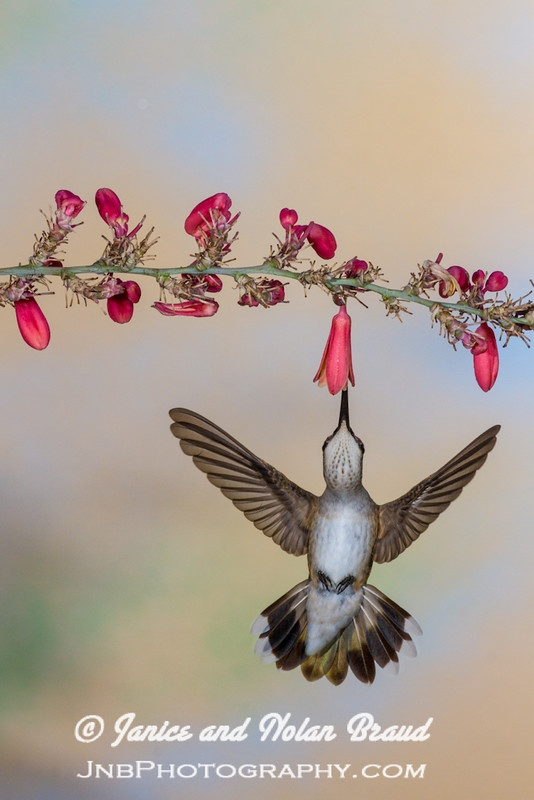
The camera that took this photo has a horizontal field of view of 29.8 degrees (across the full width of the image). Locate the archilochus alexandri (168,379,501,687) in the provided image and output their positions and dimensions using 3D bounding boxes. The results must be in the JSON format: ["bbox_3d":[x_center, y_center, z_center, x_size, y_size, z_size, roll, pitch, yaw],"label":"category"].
[{"bbox_3d":[0.185,0.303,2.047,0.568,0.546,0.421,-5,2,21],"label":"archilochus alexandri"}]
